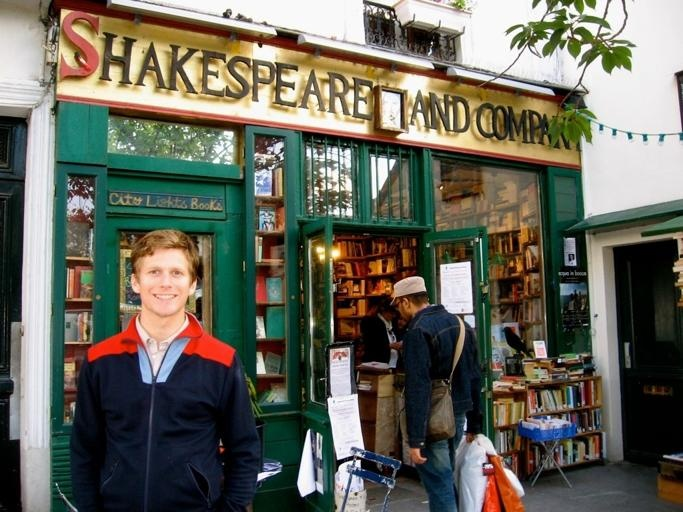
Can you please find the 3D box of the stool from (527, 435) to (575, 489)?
[{"bbox_3d":[2.405,2.360,7.381,0.512,0.735,0.447,-3,-6,-1],"label":"stool"}]

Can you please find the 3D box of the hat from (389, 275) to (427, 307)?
[{"bbox_3d":[0.542,0.307,5.335,0.200,0.155,0.279,-4,-3,-39],"label":"hat"}]

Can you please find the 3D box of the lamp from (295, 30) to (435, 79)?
[{"bbox_3d":[0.227,-2.105,6.835,1.213,0.134,0.206,6,-24,-34],"label":"lamp"}]

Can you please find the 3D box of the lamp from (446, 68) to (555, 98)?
[{"bbox_3d":[1.960,-2.137,7.754,1.641,0.194,0.200,0,-8,-28],"label":"lamp"}]

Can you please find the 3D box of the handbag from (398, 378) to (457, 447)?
[{"bbox_3d":[0.793,1.185,4.941,0.325,0.464,0.143,3,-9,-40],"label":"handbag"}]
